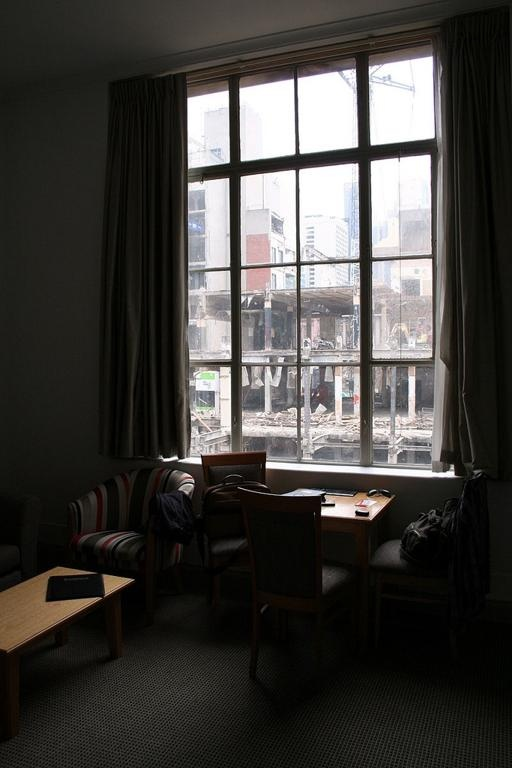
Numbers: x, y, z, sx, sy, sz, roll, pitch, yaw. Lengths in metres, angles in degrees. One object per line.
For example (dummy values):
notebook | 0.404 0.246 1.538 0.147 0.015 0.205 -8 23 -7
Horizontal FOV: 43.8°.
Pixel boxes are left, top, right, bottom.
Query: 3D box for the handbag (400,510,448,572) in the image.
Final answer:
handbag | 0.762 0.707 2.933 0.201 0.203 0.320 0 4 16

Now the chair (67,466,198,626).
chair | -0.698 0.905 3.556 0.527 0.967 0.692 2 -12 10
